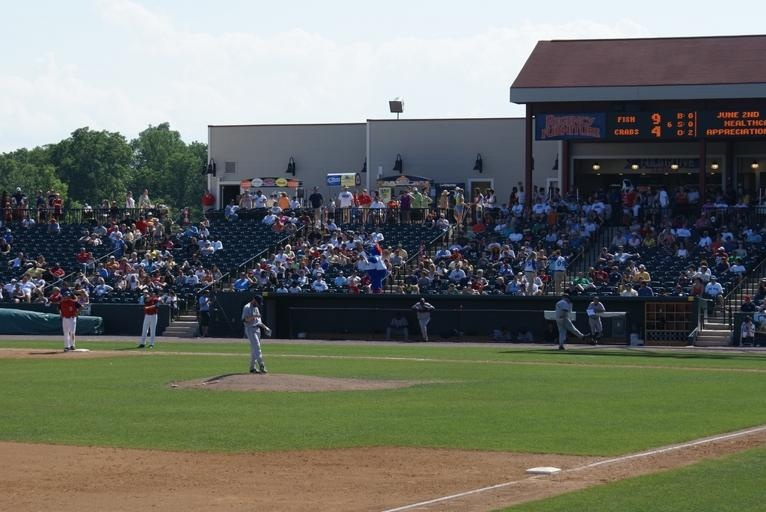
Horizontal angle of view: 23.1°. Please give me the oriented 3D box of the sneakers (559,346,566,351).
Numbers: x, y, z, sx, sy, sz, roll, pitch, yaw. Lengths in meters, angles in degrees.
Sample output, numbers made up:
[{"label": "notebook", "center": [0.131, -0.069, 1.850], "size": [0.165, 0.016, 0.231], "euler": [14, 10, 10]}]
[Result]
[{"label": "sneakers", "center": [7.513, 4.029, 78.628], "size": [0.399, 0.265, 0.136], "euler": [-5, 7, -42]}]

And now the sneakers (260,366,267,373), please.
[{"label": "sneakers", "center": [-4.488, 4.405, 70.234], "size": [0.221, 0.342, 0.261], "euler": [6, 2, 25]}]

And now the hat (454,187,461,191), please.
[{"label": "hat", "center": [3.833, -3.286, 95.218], "size": [0.423, 0.127, 0.322], "euler": [0, -2, 42]}]

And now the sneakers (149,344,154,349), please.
[{"label": "sneakers", "center": [-9.812, 4.002, 79.322], "size": [0.159, 0.178, 0.423], "euler": [0, -6, -6]}]

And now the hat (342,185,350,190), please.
[{"label": "hat", "center": [-2.028, -3.561, 100.547], "size": [0.424, 0.121, 0.422], "euler": [0, -4, -11]}]

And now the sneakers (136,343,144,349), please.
[{"label": "sneakers", "center": [-10.269, 3.997, 79.539], "size": [0.387, 0.261, 0.132], "euler": [2, -2, 13]}]
